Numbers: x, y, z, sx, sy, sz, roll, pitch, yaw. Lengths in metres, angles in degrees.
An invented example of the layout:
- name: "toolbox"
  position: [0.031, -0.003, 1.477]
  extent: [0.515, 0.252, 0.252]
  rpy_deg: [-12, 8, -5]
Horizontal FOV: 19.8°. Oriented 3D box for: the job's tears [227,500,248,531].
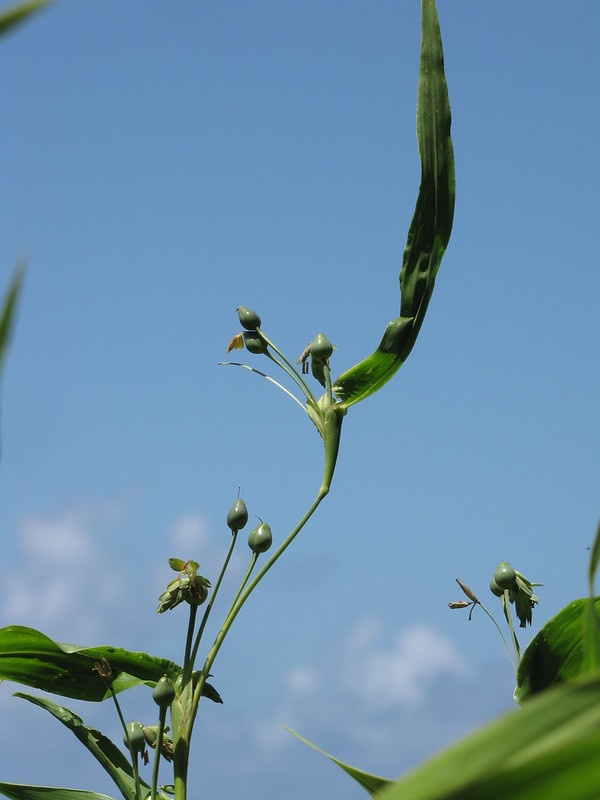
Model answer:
- name: "job's tears"
  position: [-0.068, 0.121, 1.892]
  extent: [0.019, 0.042, 0.045]
  rpy_deg: [2, -30, -4]
